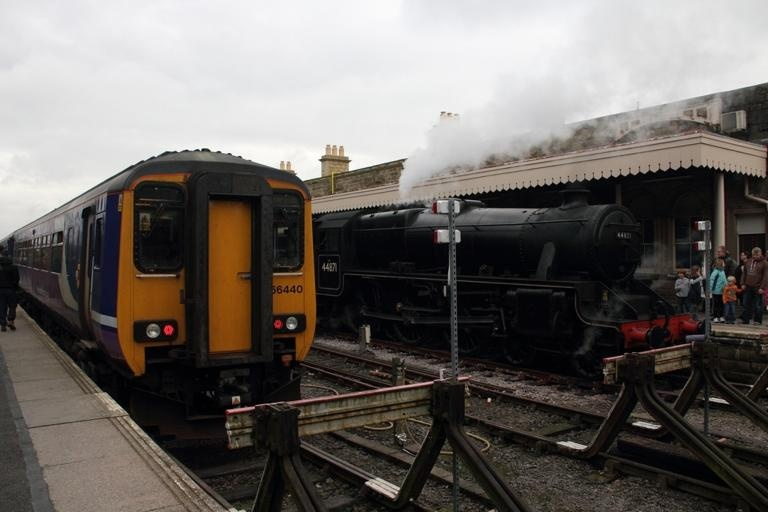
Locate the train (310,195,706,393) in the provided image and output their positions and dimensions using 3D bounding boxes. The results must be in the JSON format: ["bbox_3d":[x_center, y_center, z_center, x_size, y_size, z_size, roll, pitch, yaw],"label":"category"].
[{"bbox_3d":[1.305,0.379,15.646,3.368,3.855,12.173,-3,3,-34],"label":"train"}]

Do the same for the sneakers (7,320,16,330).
[{"bbox_3d":[-9.450,1.763,14.593,0.121,0.258,0.244,-3,23,-17],"label":"sneakers"}]

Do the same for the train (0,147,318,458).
[{"bbox_3d":[-4.011,0.478,9.484,5.758,4.139,2.183,1,4,42],"label":"train"}]
